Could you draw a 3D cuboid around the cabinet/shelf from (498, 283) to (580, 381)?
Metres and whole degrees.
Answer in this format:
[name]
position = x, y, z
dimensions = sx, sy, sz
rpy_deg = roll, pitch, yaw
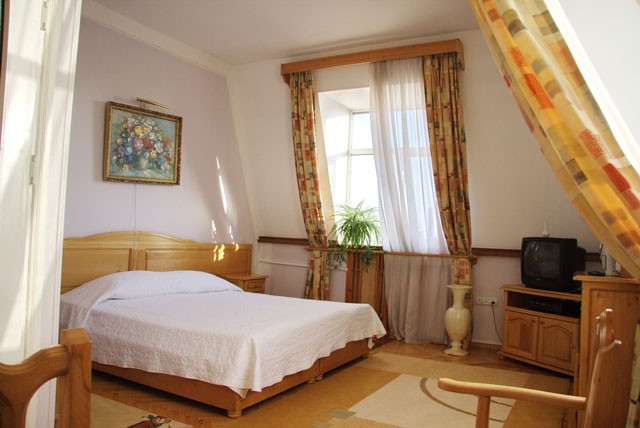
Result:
[cabinet/shelf]
position = 2.348, 1.278, 4.768
dimensions = 0.964, 0.878, 0.477
rpy_deg = 14, -18, 0

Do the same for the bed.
[bed]
position = -1.110, 0.859, 5.007
dimensions = 2.634, 1.184, 2.827
rpy_deg = 3, -3, 29

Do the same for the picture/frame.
[picture/frame]
position = -2.153, -0.859, 5.308
dimensions = 0.081, 0.912, 1.068
rpy_deg = 6, 5, 28

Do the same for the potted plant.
[potted plant]
position = 0.538, 0.233, 6.275
dimensions = 0.623, 0.760, 0.614
rpy_deg = -14, 12, -42

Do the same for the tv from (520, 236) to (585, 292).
[tv]
position = 2.676, 0.620, 4.826
dimensions = 0.615, 0.568, 0.578
rpy_deg = 16, -18, -12
